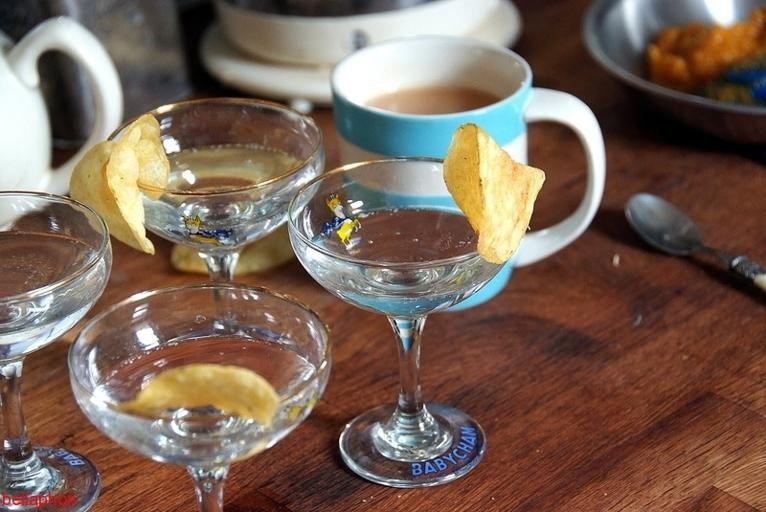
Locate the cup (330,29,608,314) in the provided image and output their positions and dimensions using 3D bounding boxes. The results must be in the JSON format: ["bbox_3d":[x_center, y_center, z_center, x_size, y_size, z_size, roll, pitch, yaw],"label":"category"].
[{"bbox_3d":[0.068,-0.106,0.736,0.331,0.258,0.197,-3,39,1],"label":"cup"}]

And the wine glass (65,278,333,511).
[{"bbox_3d":[-0.097,0.109,0.579,0.187,0.235,0.176,2,44,0],"label":"wine glass"}]
